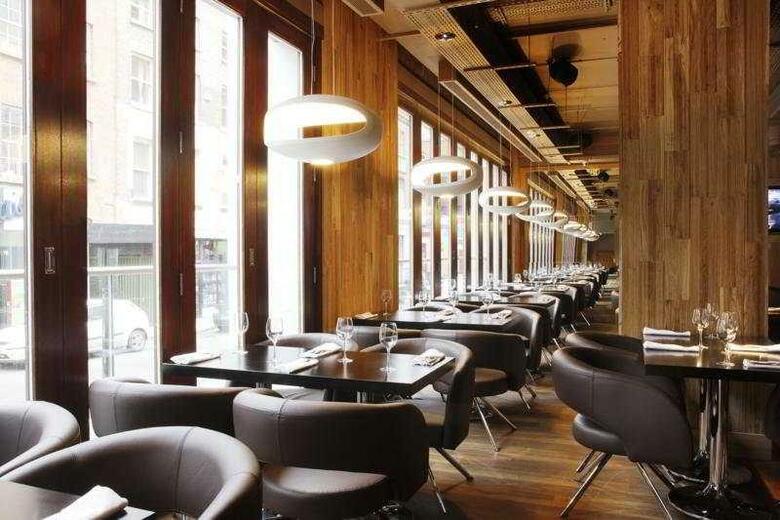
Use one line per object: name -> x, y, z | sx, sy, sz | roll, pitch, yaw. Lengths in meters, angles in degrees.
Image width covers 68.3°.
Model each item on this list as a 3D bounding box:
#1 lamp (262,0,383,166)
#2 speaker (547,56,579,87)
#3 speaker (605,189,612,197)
lamp -> -0.540, -1.157, 4.591 | 0.668, 0.704, 0.692 | -3, -37, 0
speaker -> 2.737, -2.979, 9.034 | 0.514, 0.397, 0.734 | 8, 12, 37
speaker -> 8.939, -2.785, 23.645 | 0.444, 0.289, 0.098 | 5, -3, -40
